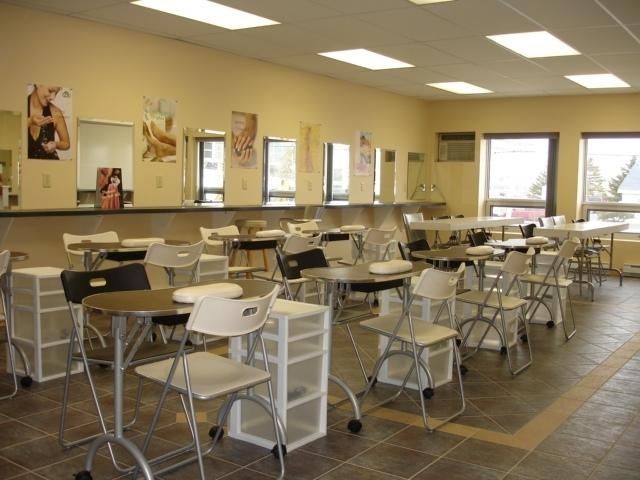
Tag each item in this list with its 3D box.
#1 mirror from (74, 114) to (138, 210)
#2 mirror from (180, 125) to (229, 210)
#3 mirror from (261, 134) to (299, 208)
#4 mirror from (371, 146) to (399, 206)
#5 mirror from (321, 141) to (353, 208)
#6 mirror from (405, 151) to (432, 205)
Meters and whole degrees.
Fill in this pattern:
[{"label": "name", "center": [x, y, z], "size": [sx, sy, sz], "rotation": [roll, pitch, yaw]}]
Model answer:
[{"label": "mirror", "center": [-2.780, -1.023, 6.346], "size": [0.126, 1.110, 0.745], "rotation": [7, 8, 41]}, {"label": "mirror", "center": [-1.762, -1.139, 7.442], "size": [0.177, 1.159, 0.766], "rotation": [6, 8, 36]}, {"label": "mirror", "center": [-0.700, -1.238, 8.564], "size": [0.146, 1.146, 0.777], "rotation": [6, 8, 35]}, {"label": "mirror", "center": [1.465, -1.464, 10.825], "size": [0.112, 1.165, 0.881], "rotation": [6, 8, 36]}, {"label": "mirror", "center": [0.334, -1.347, 9.657], "size": [0.063, 1.170, 0.739], "rotation": [8, 9, 44]}, {"label": "mirror", "center": [2.333, -1.538, 11.655], "size": [0.133, 1.595, 1.478], "rotation": [1, 2, 38]}]
